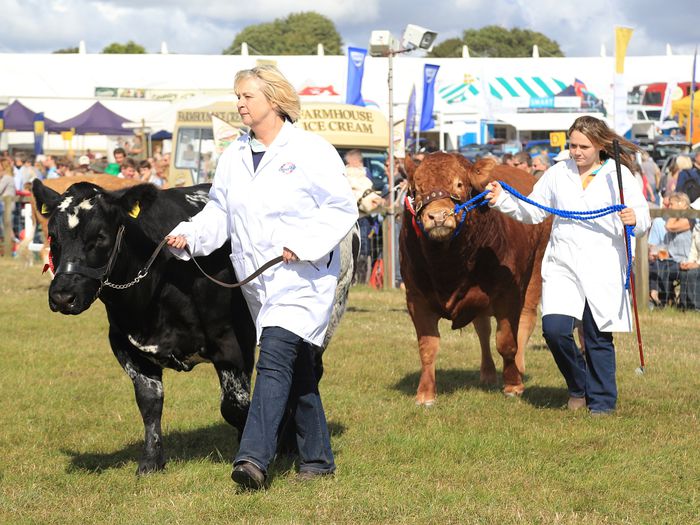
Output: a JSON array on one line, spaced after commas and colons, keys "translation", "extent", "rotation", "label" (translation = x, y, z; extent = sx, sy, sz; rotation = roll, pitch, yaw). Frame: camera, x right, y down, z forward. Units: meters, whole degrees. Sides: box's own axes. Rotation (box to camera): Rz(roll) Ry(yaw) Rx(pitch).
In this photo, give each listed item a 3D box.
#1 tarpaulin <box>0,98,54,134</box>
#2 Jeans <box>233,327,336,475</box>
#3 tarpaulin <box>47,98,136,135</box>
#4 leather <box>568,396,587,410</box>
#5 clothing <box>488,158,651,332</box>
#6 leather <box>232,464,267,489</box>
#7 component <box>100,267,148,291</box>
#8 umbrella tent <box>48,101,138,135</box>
[{"translation": [-8.071, -3.639, 34.115], "extent": [1.887, 0.859, 1.878], "rotation": [-1, 4, -16], "label": "tarpaulin"}, {"translation": [-0.684, 1.386, 13.647], "extent": [1.009, 1.566, 0.409], "rotation": [-11, 17, -35], "label": "Jeans"}, {"translation": [-6.004, -3.319, 32.477], "extent": [1.185, 0.548, 1.203], "rotation": [1, 5, 12], "label": "tarpaulin"}, {"translation": [2.579, 1.572, 15.552], "extent": [0.190, 0.192, 0.119], "rotation": [3, -3, 4], "label": "leather"}, {"translation": [2.588, -0.208, 15.389], "extent": [1.485, 1.843, 0.676], "rotation": [2, 15, 11], "label": "clothing"}, {"translation": [-0.971, 2.097, 13.446], "extent": [0.209, 0.350, 0.160], "rotation": [-17, 37, 27], "label": "leather"}, {"translation": [-2.246, 0.170, 13.902], "extent": [0.313, 0.076, 0.213], "rotation": [-23, 32, -7], "label": "component"}, {"translation": [-6.017, -3.337, 32.529], "extent": [1.184, 0.551, 1.188], "rotation": [1, 6, 11], "label": "umbrella tent"}]
